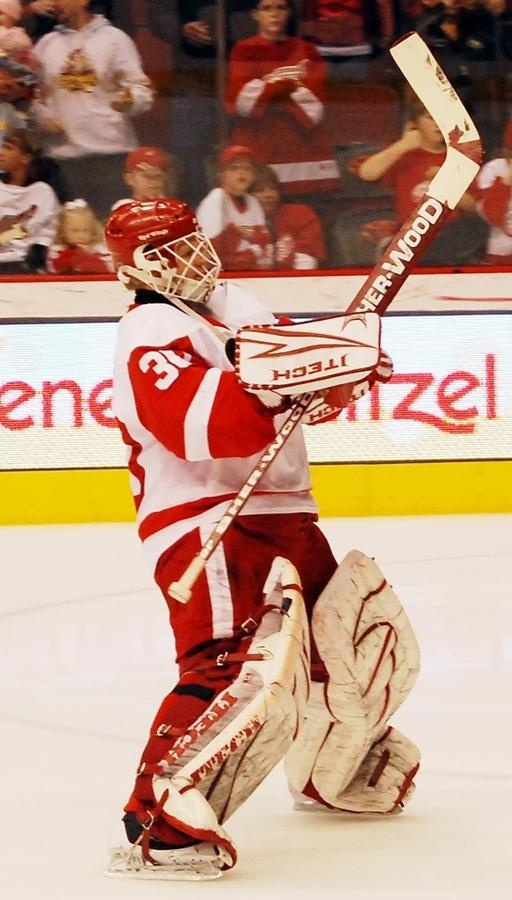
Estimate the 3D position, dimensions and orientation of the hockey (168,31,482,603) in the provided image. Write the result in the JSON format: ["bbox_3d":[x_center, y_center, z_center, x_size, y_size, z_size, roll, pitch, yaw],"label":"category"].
[{"bbox_3d":[0.150,-0.244,1.406,0.349,1.013,0.071,30,-22,-1],"label":"hockey"}]

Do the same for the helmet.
[{"bbox_3d":[-0.171,-0.339,1.473,0.138,0.121,0.105,-22,16,7],"label":"helmet"}]

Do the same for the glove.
[{"bbox_3d":[0.060,-0.106,1.225,0.189,0.151,0.159,-6,8,-19],"label":"glove"}]
